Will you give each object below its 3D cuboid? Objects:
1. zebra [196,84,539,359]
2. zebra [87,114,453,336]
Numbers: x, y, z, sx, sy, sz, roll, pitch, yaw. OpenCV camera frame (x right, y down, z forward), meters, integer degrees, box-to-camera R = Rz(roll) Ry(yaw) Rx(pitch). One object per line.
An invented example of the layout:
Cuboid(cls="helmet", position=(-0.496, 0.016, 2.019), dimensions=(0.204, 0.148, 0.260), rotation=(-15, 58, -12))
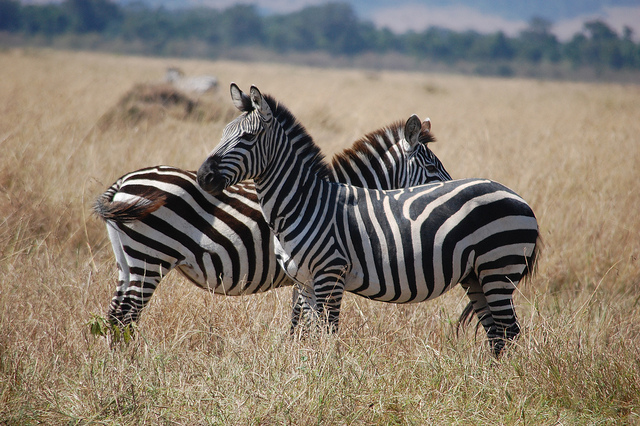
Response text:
Cuboid(cls="zebra", position=(0.593, 0.348, 8.585), dimensions=(3.783, 3.078, 1.175), rotation=(4, -4, -15))
Cuboid(cls="zebra", position=(-0.411, 0.275, 9.049), dimensions=(4.053, 2.911, 1.149), rotation=(-1, 13, -5))
